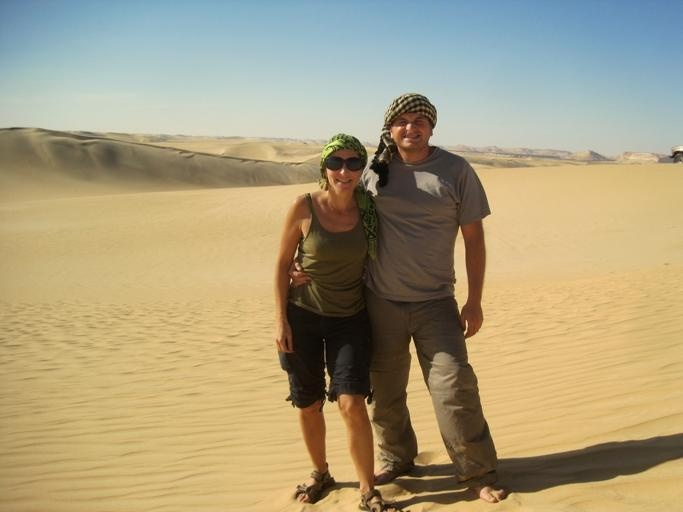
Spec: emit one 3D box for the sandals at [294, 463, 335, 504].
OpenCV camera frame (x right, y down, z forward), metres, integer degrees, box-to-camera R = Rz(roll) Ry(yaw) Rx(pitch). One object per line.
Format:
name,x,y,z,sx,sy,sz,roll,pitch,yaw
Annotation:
sandals,-0.225,2.135,5.580,0.205,0.155,0.450,-9,-9,39
